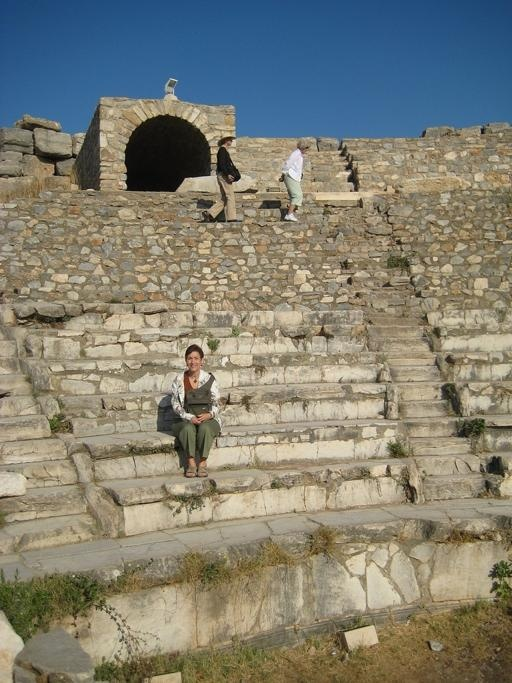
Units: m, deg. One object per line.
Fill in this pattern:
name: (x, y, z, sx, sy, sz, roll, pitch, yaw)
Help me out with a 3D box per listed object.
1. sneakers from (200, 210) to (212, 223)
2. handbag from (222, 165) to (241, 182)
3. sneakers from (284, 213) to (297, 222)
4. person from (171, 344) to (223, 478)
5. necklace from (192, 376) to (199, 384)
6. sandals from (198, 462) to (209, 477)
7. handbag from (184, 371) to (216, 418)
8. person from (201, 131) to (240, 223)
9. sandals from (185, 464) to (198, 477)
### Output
sneakers: (-0.826, -2.070, 10.012, 0.208, 0.115, 0.118, 19, -29, 15)
handbag: (-0.417, -2.774, 10.033, 0.266, 0.137, 0.335, 0, 7, -10)
sneakers: (0.588, -2.082, 10.158, 0.245, 0.099, 0.092, 10, 22, 43)
person: (-0.496, 0.553, 4.994, 0.397, 1.013, 0.521, -5, 8, -5)
necklace: (-0.517, 0.321, 5.163, 0.064, 0.060, 0.017, -1, -7, -33)
sandals: (-0.432, 1.028, 4.889, 0.073, 0.108, 0.196, -4, 8, -4)
handbag: (-0.469, 0.434, 5.097, 0.357, 0.458, 0.255, 1, -10, -7)
person: (-0.591, -2.720, 10.266, 0.607, 1.404, 1.656, -4, 8, -1)
sandals: (-0.519, 1.035, 4.851, 0.096, 0.070, 0.126, -4, 8, -2)
